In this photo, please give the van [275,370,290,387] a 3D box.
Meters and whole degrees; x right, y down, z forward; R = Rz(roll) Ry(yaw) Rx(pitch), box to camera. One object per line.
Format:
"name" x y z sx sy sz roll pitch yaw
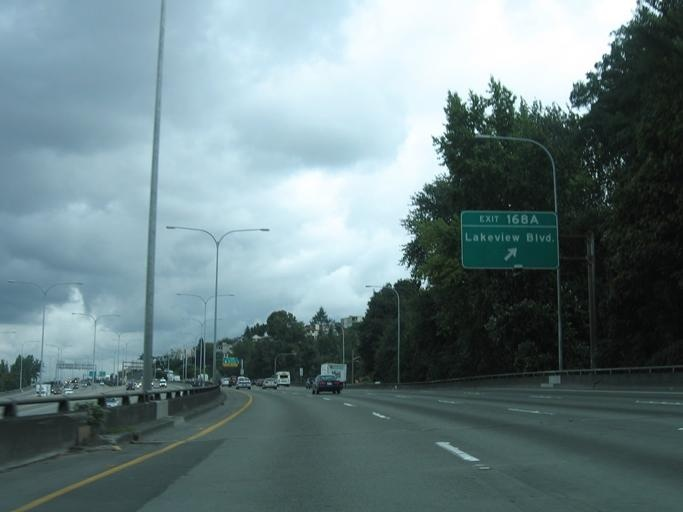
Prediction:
"van" -8.384 17.215 115.851 2.203 2.512 7.090 1 -17 -4
